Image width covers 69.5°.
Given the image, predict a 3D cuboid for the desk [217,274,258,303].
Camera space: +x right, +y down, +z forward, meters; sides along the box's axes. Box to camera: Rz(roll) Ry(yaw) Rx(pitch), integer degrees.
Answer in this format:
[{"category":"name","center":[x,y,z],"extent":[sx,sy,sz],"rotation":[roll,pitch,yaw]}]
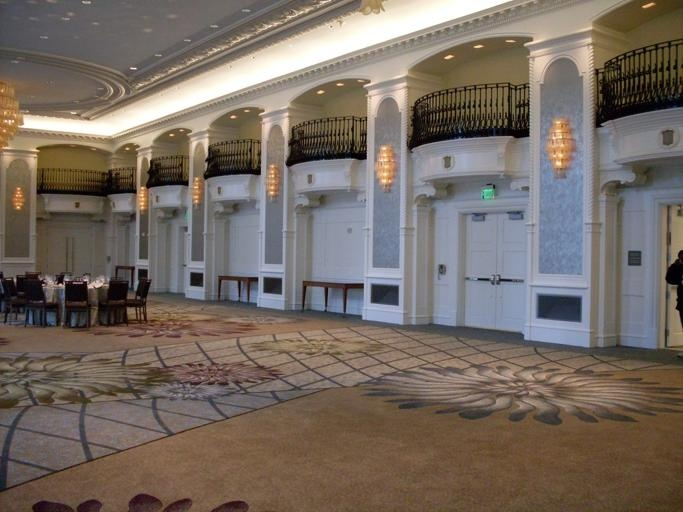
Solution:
[{"category":"desk","center":[-3.417,1.331,16.592],"extent":[0.898,0.858,1.661],"rotation":[0,0,-34]}]

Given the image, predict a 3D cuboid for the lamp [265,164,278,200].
[{"category":"lamp","center":[-2.039,-2.286,14.906],"extent":[0.476,1.082,0.109],"rotation":[2,2,30]}]

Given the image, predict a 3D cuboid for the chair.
[{"category":"chair","center":[-6.009,1.018,11.173],"extent":[3.021,1.067,1.412],"rotation":[1,2,6]}]

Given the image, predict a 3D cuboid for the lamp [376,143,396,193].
[{"category":"lamp","center":[1.082,-2.201,12.104],"extent":[0.594,1.174,0.161],"rotation":[2,2,45]}]
